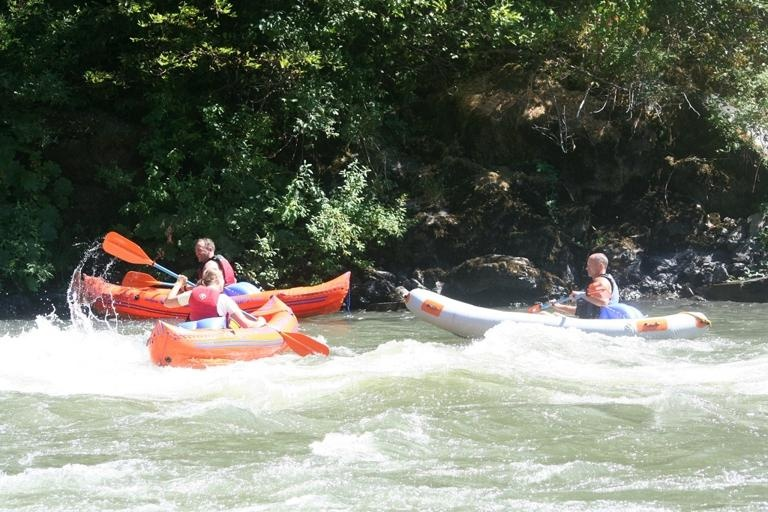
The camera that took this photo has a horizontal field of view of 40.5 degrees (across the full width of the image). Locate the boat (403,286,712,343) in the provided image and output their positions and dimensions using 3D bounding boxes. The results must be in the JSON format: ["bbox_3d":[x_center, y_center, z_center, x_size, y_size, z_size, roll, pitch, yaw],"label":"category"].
[{"bbox_3d":[3.363,1.325,21.491,4.338,0.748,2.178,4,-6,9],"label":"boat"}]

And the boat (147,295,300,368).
[{"bbox_3d":[-2.915,1.510,20.149,1.178,0.883,2.451,13,12,43],"label":"boat"}]

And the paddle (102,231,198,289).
[{"bbox_3d":[-5.743,0.068,25.358,2.667,0.464,0.209,29,4,10],"label":"paddle"}]

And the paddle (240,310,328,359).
[{"bbox_3d":[-1.767,1.594,20.526,1.473,0.393,0.105,31,15,-15],"label":"paddle"}]
